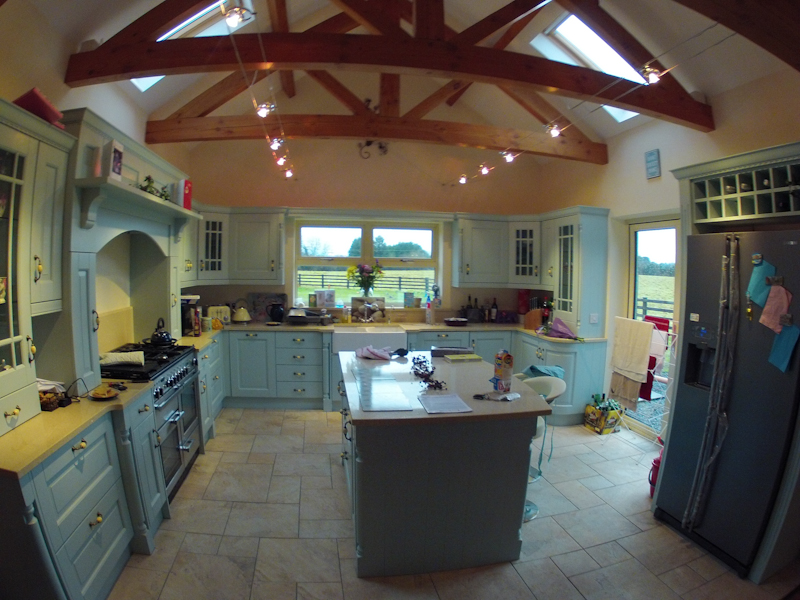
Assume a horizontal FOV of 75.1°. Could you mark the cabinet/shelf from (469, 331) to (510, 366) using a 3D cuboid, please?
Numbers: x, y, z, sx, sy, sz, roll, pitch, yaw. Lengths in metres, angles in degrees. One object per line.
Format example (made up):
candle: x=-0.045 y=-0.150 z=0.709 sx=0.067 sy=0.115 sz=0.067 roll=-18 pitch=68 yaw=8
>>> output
cabinet/shelf: x=1.052 y=0.518 z=6.260 sx=0.568 sy=0.579 sz=0.335 roll=0 pitch=-3 yaw=-12

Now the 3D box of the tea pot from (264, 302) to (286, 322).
tea pot: x=-1.467 y=0.154 z=6.137 sx=0.218 sy=0.230 sz=0.174 roll=-1 pitch=4 yaw=-19

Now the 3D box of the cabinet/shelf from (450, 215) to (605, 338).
cabinet/shelf: x=1.535 y=-0.313 z=5.990 sx=1.640 sy=1.406 sz=0.572 roll=1 pitch=4 yaw=25

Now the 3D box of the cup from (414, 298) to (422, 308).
cup: x=0.241 y=0.037 z=6.723 sx=0.104 sy=0.204 sz=0.108 roll=0 pitch=-3 yaw=0

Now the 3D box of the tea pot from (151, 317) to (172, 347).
tea pot: x=-2.083 y=0.276 z=4.553 sx=0.166 sy=0.223 sz=0.366 roll=-3 pitch=4 yaw=-26

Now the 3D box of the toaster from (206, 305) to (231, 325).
toaster: x=-2.066 y=0.182 z=5.939 sx=0.210 sy=0.196 sz=0.068 roll=1 pitch=-3 yaw=-40

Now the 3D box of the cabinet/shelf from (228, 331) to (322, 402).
cabinet/shelf: x=-1.431 y=0.707 z=6.097 sx=1.265 sy=0.976 sz=0.704 roll=1 pitch=-3 yaw=-9

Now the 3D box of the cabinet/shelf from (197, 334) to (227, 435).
cabinet/shelf: x=-1.882 y=0.850 z=5.185 sx=0.353 sy=0.841 sz=0.873 roll=0 pitch=7 yaw=-11

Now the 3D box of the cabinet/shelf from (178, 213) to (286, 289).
cabinet/shelf: x=-1.897 y=-0.589 z=5.798 sx=0.866 sy=0.668 sz=0.310 roll=0 pitch=-2 yaw=-15

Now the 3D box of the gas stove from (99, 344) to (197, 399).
gas stove: x=-1.977 y=0.501 z=4.206 sx=0.450 sy=0.227 sz=0.687 roll=17 pitch=11 yaw=-4

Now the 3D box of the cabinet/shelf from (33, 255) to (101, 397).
cabinet/shelf: x=-2.245 y=0.121 z=3.550 sx=0.282 sy=1.004 sz=0.227 roll=4 pitch=8 yaw=12

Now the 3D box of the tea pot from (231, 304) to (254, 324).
tea pot: x=-1.854 y=0.159 z=6.171 sx=0.189 sy=0.213 sz=0.202 roll=-1 pitch=-5 yaw=0

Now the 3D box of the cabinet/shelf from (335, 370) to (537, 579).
cabinet/shelf: x=0.248 y=1.226 z=3.783 sx=1.100 sy=0.808 sz=1.459 roll=-1 pitch=4 yaw=-8

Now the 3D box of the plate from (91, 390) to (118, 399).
plate: x=-1.932 y=0.625 z=3.422 sx=0.081 sy=0.026 sz=0.084 roll=5 pitch=1 yaw=14

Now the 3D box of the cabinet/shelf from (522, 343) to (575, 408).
cabinet/shelf: x=1.428 y=0.718 z=4.895 sx=0.361 sy=0.680 sz=0.614 roll=3 pitch=-7 yaw=-12
